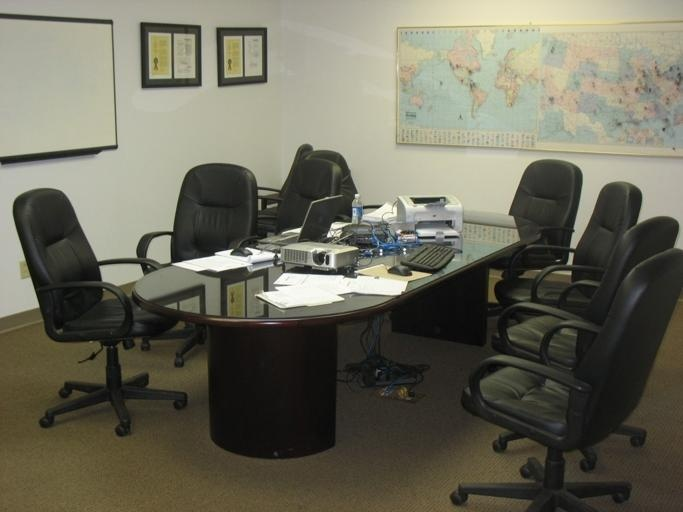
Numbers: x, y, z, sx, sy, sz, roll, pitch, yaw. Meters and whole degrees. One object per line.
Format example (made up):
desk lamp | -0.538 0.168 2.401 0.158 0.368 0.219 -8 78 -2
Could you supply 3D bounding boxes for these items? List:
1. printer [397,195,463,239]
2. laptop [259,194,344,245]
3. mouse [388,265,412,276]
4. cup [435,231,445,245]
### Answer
printer | 0.614 -0.275 3.769 0.280 0.225 0.399 -1 13 -9
laptop | -0.297 -0.224 3.566 0.408 0.263 0.418 7 12 32
mouse | 0.320 0.080 3.029 0.097 0.032 0.060 11 15 44
cup | 0.665 -0.119 3.713 0.070 0.092 0.070 1 12 0
